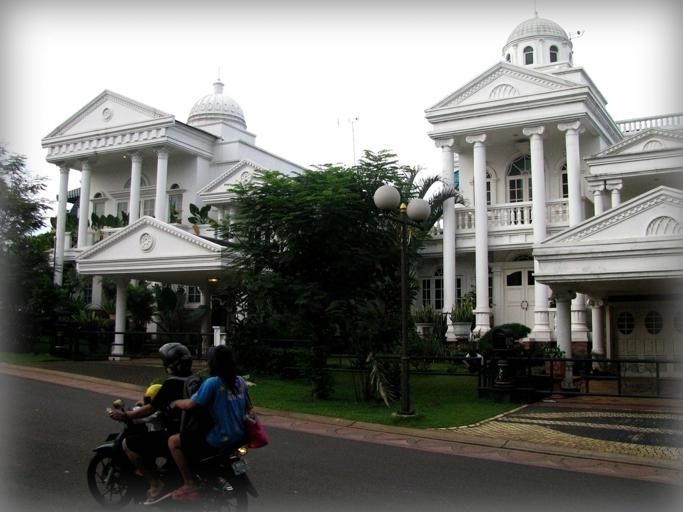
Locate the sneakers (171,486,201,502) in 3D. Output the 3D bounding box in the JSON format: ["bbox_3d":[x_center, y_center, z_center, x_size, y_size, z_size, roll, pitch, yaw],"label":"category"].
[{"bbox_3d":[-2.010,3.054,8.703,0.305,0.103,0.163,5,-10,4],"label":"sneakers"}]

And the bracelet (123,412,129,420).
[{"bbox_3d":[-2.890,2.156,9.098,0.027,0.065,0.074,-12,1,-37],"label":"bracelet"}]

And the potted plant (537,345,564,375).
[{"bbox_3d":[5.595,2.835,18.163,0.766,0.842,0.689,-7,-16,34],"label":"potted plant"}]

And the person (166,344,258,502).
[{"bbox_3d":[-1.701,2.174,8.863,1.086,1.953,0.331,1,1,-14],"label":"person"}]

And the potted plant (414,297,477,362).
[{"bbox_3d":[4.065,2.715,25.532,2.442,2.605,2.003,1,-15,-2],"label":"potted plant"}]
